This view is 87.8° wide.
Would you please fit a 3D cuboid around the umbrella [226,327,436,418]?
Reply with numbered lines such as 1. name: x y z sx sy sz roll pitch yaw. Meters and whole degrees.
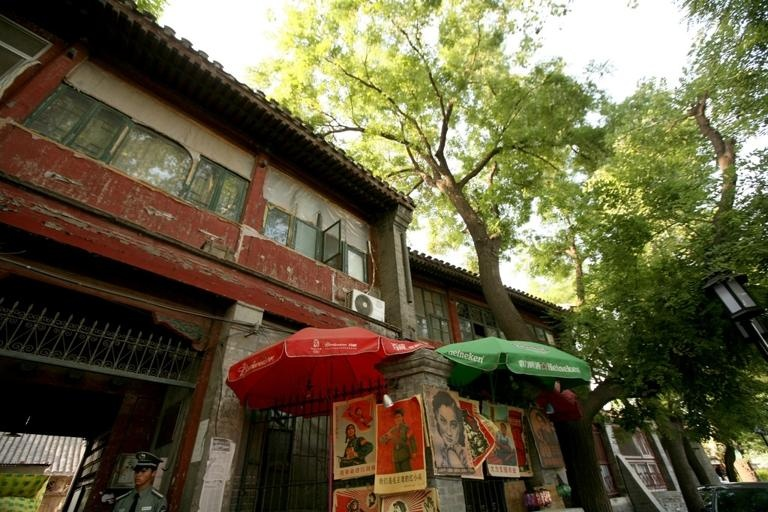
1. umbrella: -1.297 2.097 7.451 3.350 1.208 2.059 -23 -39 26

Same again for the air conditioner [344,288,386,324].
1. air conditioner: -0.535 1.282 10.193 0.796 0.448 0.279 30 -51 -30
